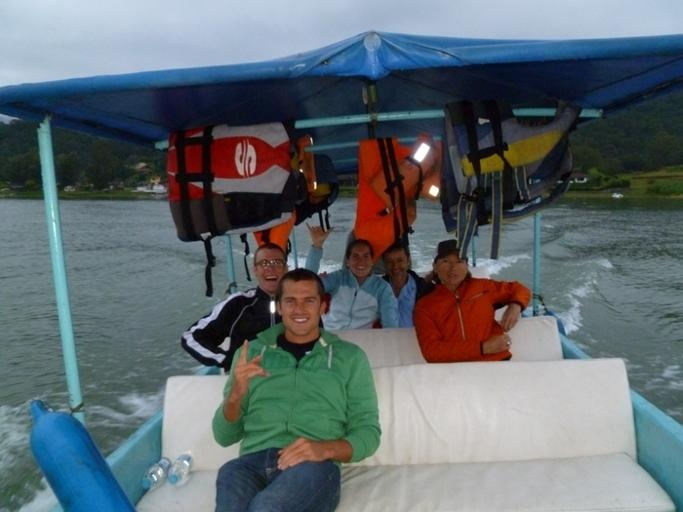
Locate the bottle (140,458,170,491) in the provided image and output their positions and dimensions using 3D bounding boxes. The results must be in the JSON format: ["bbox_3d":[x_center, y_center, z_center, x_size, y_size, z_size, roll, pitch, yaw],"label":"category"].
[{"bbox_3d":[-1.243,1.482,3.624,0.113,0.116,0.236,-2,10,29],"label":"bottle"}]

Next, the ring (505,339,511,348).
[{"bbox_3d":[1.309,0.687,4.203,0.028,0.061,0.079,3,-15,10],"label":"ring"}]

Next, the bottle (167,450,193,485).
[{"bbox_3d":[-1.098,1.451,3.624,0.078,0.073,0.216,0,15,-1],"label":"bottle"}]

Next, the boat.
[{"bbox_3d":[0.190,0.454,4.866,4.733,2.938,3.379,-2,-1,5],"label":"boat"}]

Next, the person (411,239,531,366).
[{"bbox_3d":[1.020,0.440,4.479,0.967,1.037,0.422,-11,-11,-5],"label":"person"}]
